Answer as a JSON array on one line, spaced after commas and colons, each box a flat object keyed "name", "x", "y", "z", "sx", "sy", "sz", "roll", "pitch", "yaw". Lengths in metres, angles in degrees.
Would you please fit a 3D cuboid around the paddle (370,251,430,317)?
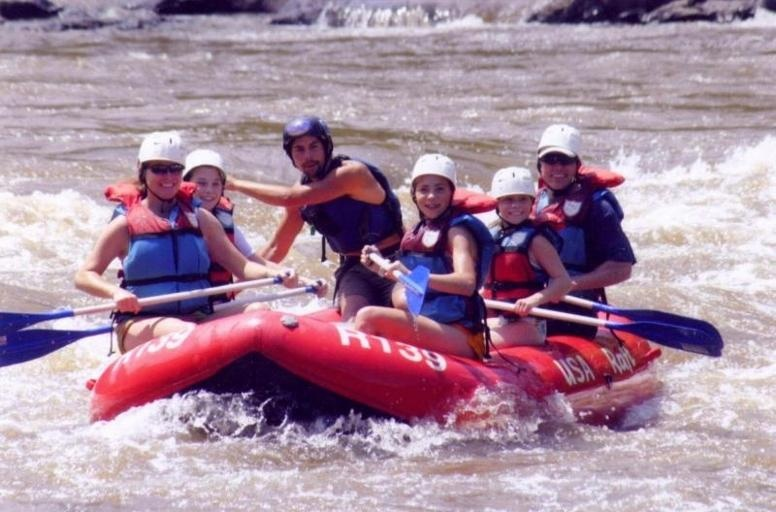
[{"name": "paddle", "x": 0.171, "y": 0.240, "z": 9.267, "sx": 0.099, "sy": 0.318, "sz": 0.707, "roll": 13, "pitch": 15, "yaw": -42}]
